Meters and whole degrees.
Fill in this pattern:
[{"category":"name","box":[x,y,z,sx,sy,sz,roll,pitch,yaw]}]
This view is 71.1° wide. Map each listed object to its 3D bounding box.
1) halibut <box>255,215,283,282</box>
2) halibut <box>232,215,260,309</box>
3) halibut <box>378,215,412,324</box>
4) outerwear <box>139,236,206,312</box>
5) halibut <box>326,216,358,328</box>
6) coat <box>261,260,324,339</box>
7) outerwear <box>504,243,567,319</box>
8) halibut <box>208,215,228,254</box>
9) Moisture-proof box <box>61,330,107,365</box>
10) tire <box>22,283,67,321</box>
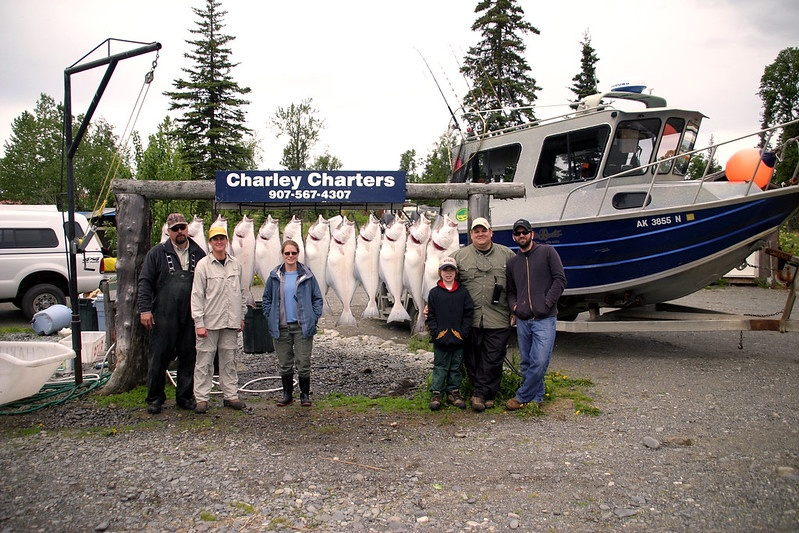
[{"category":"halibut","box":[-1.801,-0.250,7.776,0.417,1.063,0.250,0,-4,0]},{"category":"halibut","box":[-2.082,-0.102,7.760,0.423,1.140,0.407,9,-11,-28]},{"category":"halibut","box":[-0.083,0.002,7.940,0.495,1.759,0.329,-11,-41,10]},{"category":"outerwear","box":[-2.893,0.122,7.217,1.002,0.887,0.469,0,2,-35]},{"category":"halibut","box":[-0.809,0.107,7.782,0.425,1.526,0.897,-1,13,-5]},{"category":"coat","box":[-1.414,0.448,7.459,0.767,0.954,0.452,-2,13,-7]},{"category":"outerwear","box":[1.728,0.202,7.252,0.743,0.960,0.403,4,14,19]},{"category":"halibut","box":[-2.308,-0.458,7.253,0.199,0.244,0.535,3,28,-12]},{"category":"Moisture-proof box","box":[-5.167,1.315,9.267,0.540,0.331,0.800,1,-1,-3]},{"category":"tire","box":[-7.240,0.694,11.421,0.823,0.810,0.295,-3,-4,-42]}]
